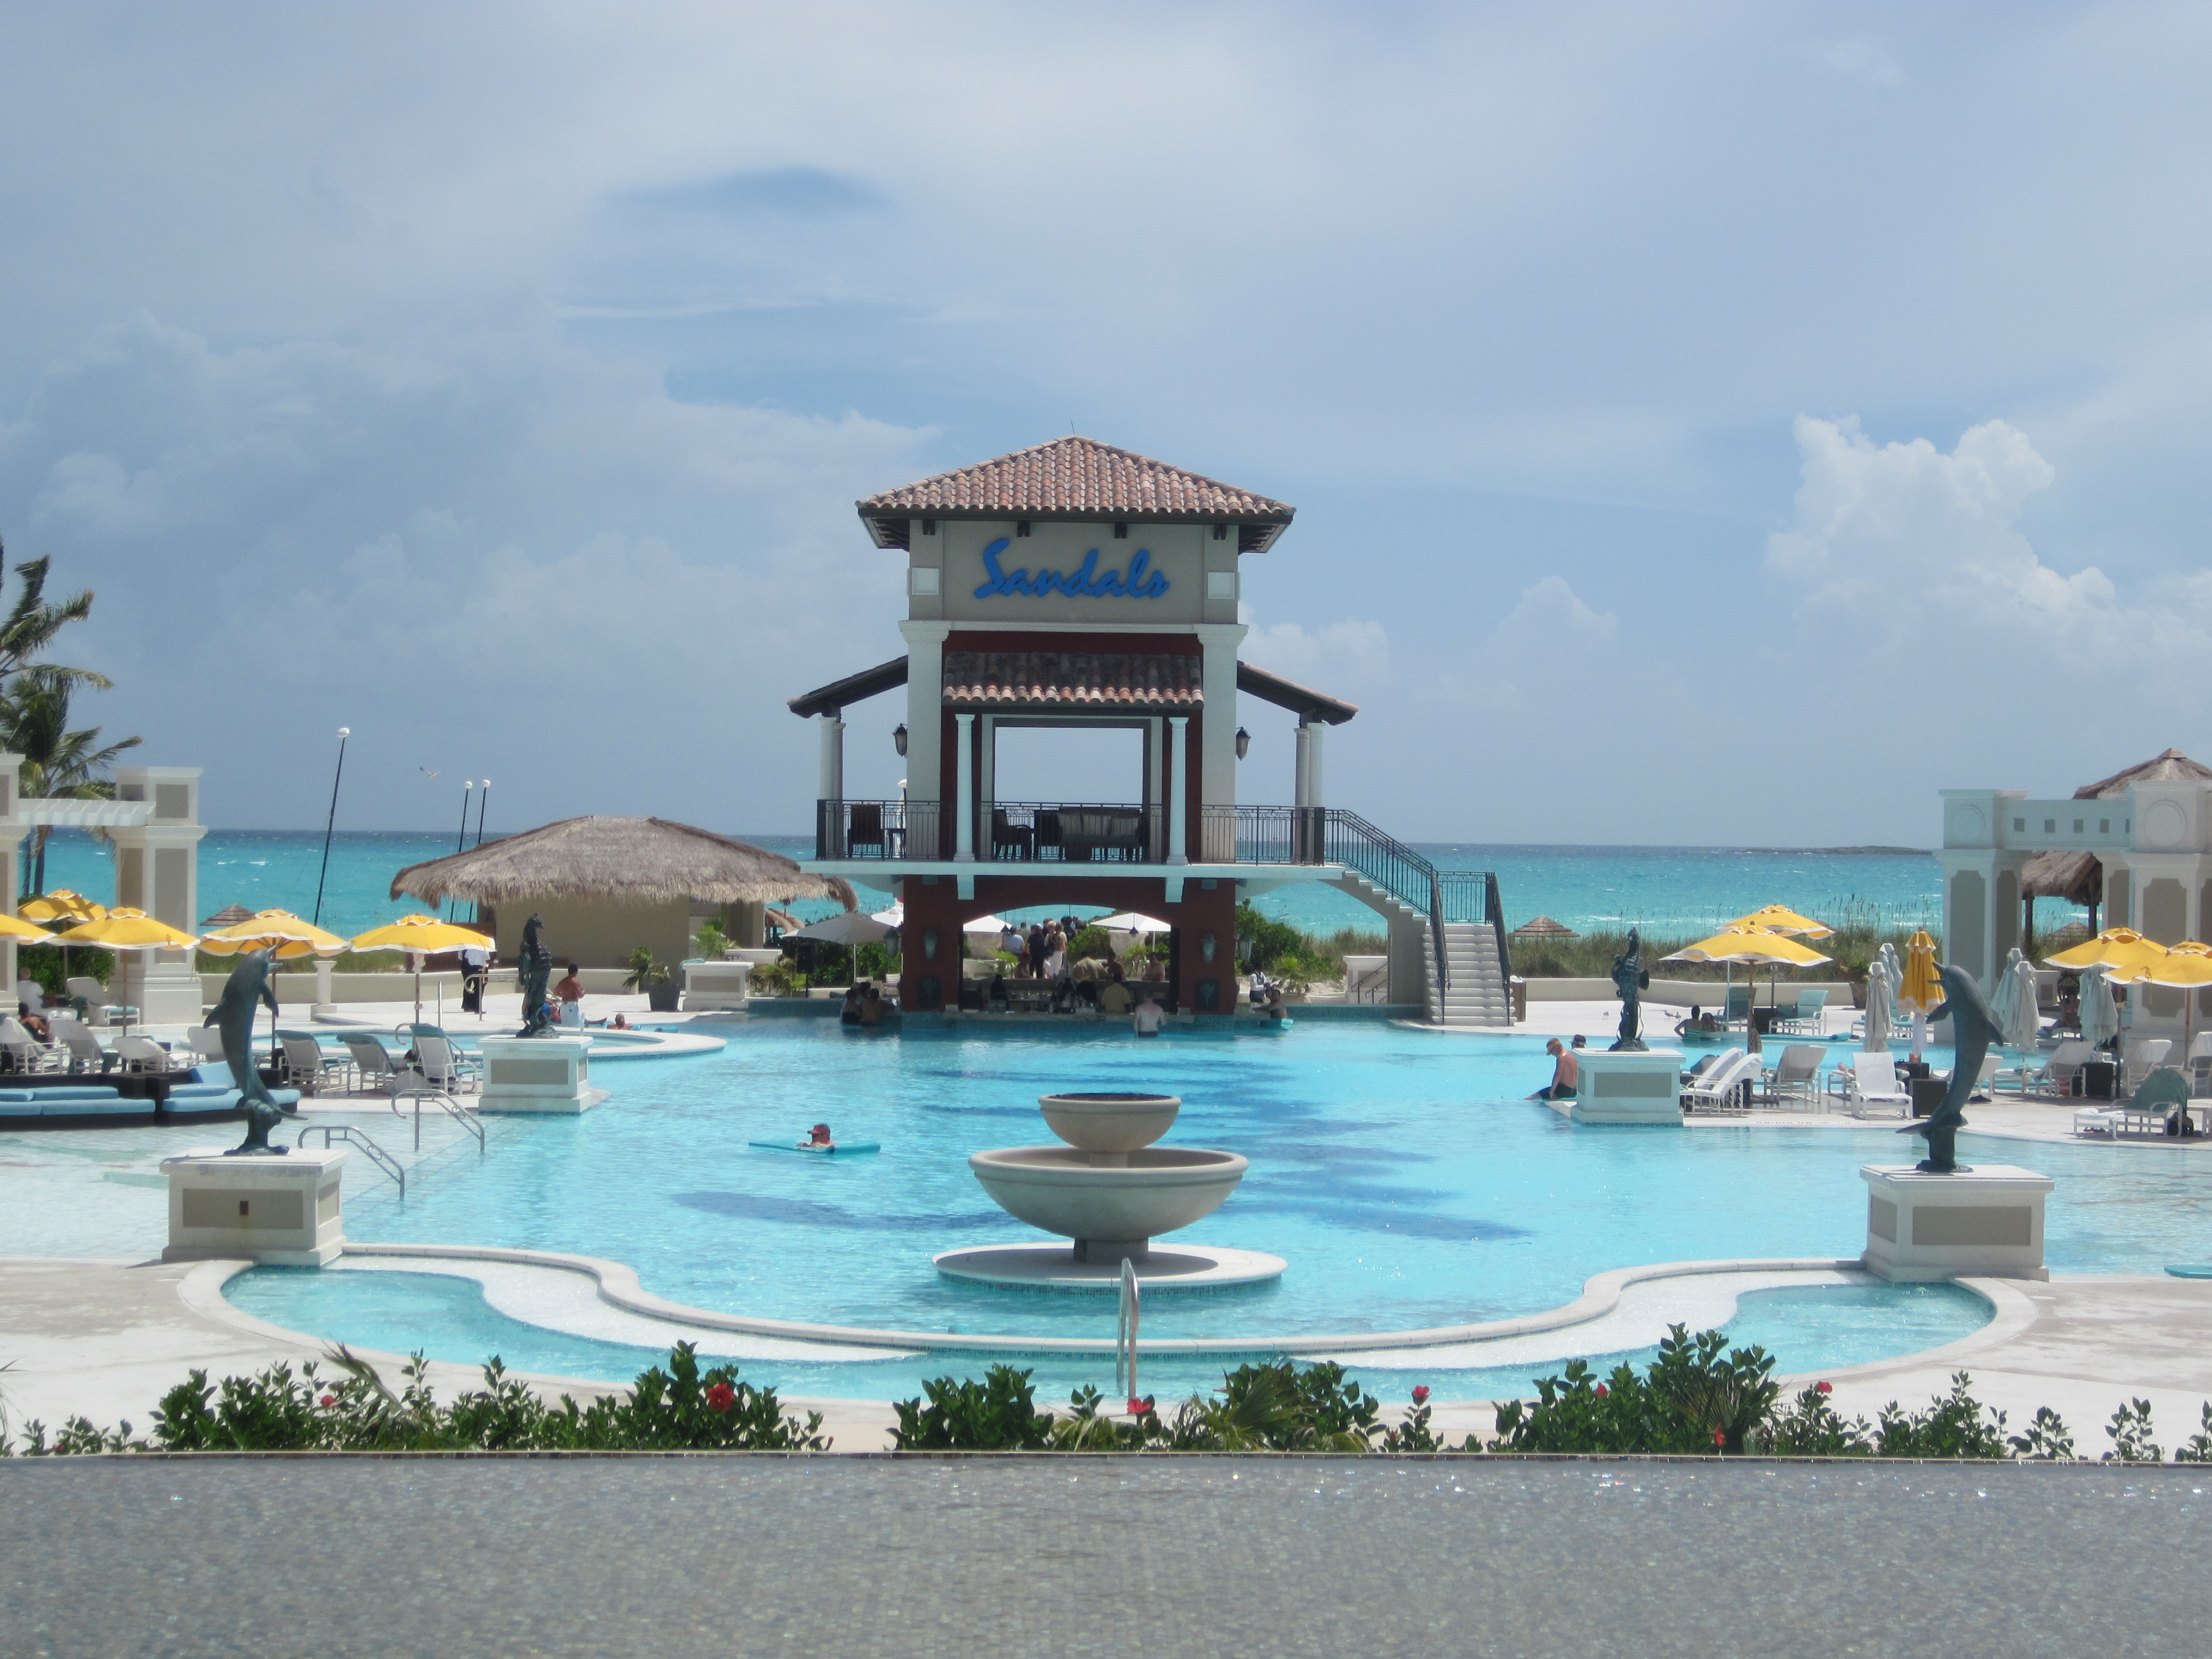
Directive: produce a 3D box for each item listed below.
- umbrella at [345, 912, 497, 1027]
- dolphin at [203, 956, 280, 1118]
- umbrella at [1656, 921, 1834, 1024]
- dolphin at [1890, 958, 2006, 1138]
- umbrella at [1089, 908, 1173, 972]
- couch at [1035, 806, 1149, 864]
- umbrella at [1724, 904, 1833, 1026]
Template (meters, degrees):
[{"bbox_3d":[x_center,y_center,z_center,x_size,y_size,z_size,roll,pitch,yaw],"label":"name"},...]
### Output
[{"bbox_3d":[-10.923,2.323,41.902,1.790,1.265,1.835,-5,-3,34],"label":"umbrella"},{"bbox_3d":[-6.068,1.376,18.363,0.707,0.603,1.419,-9,25,-16],"label":"dolphin"},{"bbox_3d":[11.035,2.512,44.935,1.993,0.745,2.015,-2,4,-22],"label":"umbrella"},{"bbox_3d":[5.815,1.566,18.034,0.835,1.281,0.457,1,8,-27],"label":"dolphin"},{"bbox_3d":[0.421,2.040,50.145,1.412,0.990,1.285,0,-4,-2],"label":"umbrella"},{"bbox_3d":[-0.227,0.060,40.098,1.736,0.865,0.504,1,-5,-2],"label":"couch"},{"bbox_3d":[11.331,2.368,44.225,1.907,0.921,1.964,-2,2,10],"label":"umbrella"}]
